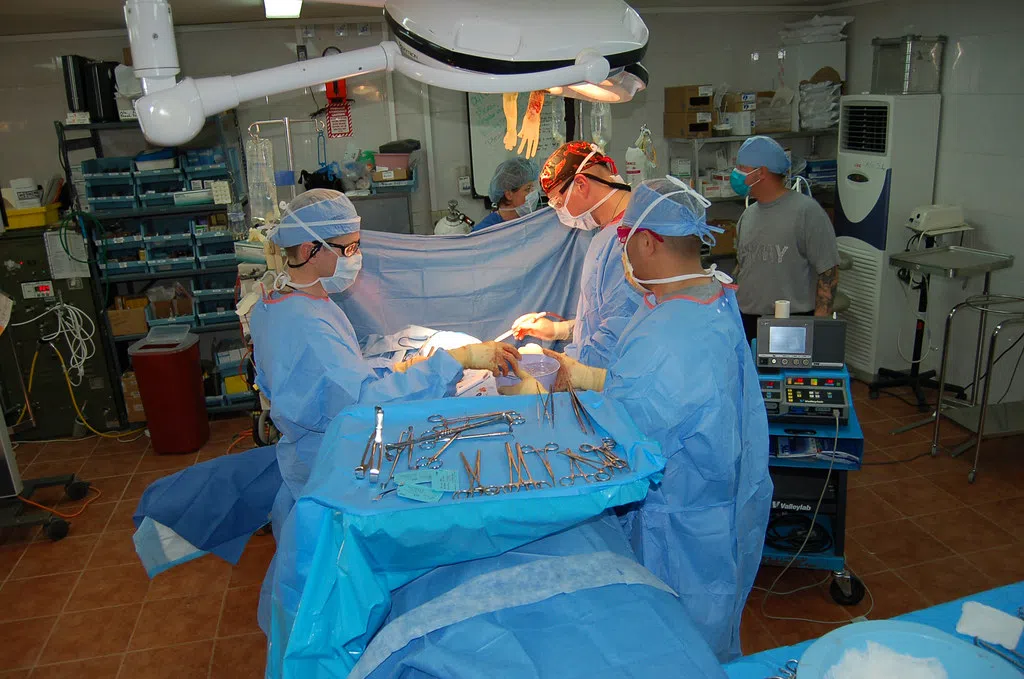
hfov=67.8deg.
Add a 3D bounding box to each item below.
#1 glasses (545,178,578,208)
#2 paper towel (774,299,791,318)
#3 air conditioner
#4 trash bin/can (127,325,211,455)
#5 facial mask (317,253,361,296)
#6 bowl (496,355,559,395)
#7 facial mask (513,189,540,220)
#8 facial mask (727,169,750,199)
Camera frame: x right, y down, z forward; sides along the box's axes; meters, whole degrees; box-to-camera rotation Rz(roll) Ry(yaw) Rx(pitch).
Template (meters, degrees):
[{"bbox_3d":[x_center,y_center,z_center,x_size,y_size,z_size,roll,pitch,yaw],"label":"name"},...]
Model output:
[{"bbox_3d":[0.247,-0.717,3.753,0.044,0.134,0.095,39,3,5],"label":"glasses"},{"bbox_3d":[1.424,-0.167,4.010,0.067,0.094,0.175,2,17,17],"label":"paper towel"},{"bbox_3d":[2.816,-0.769,5.835,0.669,2.126,0.465,4,19,25],"label":"air conditioner"},{"bbox_3d":[-2.513,0.373,5.624,0.436,0.885,0.365,-7,17,-10],"label":"trash bin/can"},{"bbox_3d":[-0.807,-0.319,3.630,0.182,0.127,0.160,18,15,-3],"label":"facial mask"},{"bbox_3d":[0.124,0.148,3.608,0.213,0.078,0.191,6,20,33],"label":"bowl"},{"bbox_3d":[0.119,-0.915,5.155,0.131,0.228,0.173,15,14,28],"label":"facial mask"},{"bbox_3d":[1.421,-0.975,4.797,0.185,0.137,0.166,7,26,3],"label":"facial mask"}]
